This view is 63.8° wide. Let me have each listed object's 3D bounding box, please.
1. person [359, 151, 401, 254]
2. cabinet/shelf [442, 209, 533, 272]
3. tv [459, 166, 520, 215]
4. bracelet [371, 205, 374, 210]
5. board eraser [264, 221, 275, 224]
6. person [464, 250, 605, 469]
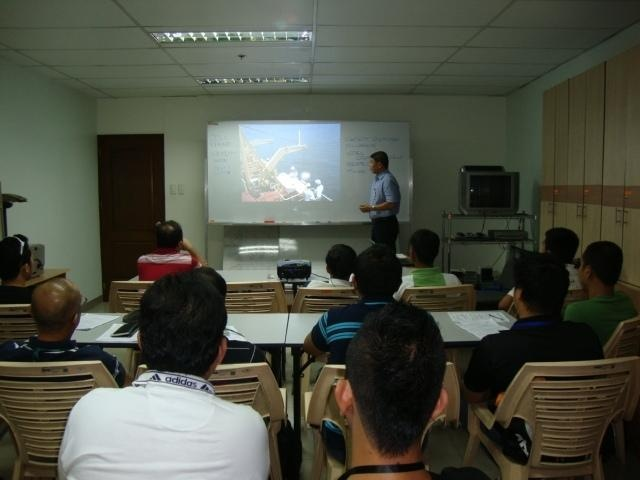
[{"bbox_3d":[0.679,-0.433,5.666,0.392,1.089,0.587,0,5,9],"label":"person"},{"bbox_3d":[1.956,-0.032,5.964,0.717,0.774,0.274,0,10,-4],"label":"cabinet/shelf"},{"bbox_3d":[1.881,-0.545,5.752,0.498,0.499,0.532,1,4,4],"label":"tv"},{"bbox_3d":[0.574,-0.349,5.449,0.036,0.041,0.027,0,5,-19],"label":"bracelet"},{"bbox_3d":[-0.638,-0.237,6.651,0.128,0.044,0.126,-1,6,-10],"label":"board eraser"},{"bbox_3d":[1.141,0.593,2.752,0.661,0.997,0.584,3,1,4],"label":"person"}]
